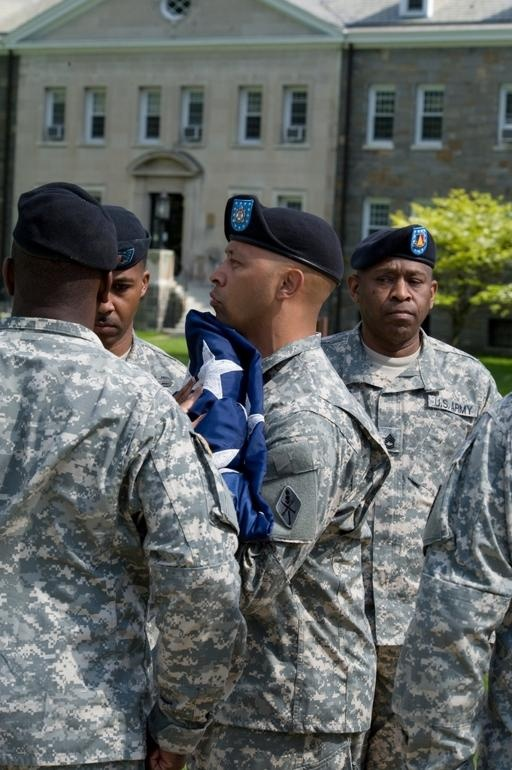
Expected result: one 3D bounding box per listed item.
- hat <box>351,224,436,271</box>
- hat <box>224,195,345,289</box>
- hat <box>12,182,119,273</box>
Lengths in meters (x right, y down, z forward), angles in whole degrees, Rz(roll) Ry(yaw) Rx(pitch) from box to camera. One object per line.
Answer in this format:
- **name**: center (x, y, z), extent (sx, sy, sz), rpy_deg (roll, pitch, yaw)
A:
- **hat**: center (0.481, -0.479, 4.508), extent (0.201, 0.081, 0.214), rpy_deg (-6, 0, -29)
- **hat**: center (0.082, -0.369, 3.288), extent (0.291, 0.101, 0.202), rpy_deg (19, -4, -13)
- **hat**: center (-0.405, -0.343, 2.791), extent (0.239, 0.110, 0.168), rpy_deg (23, 16, 26)
